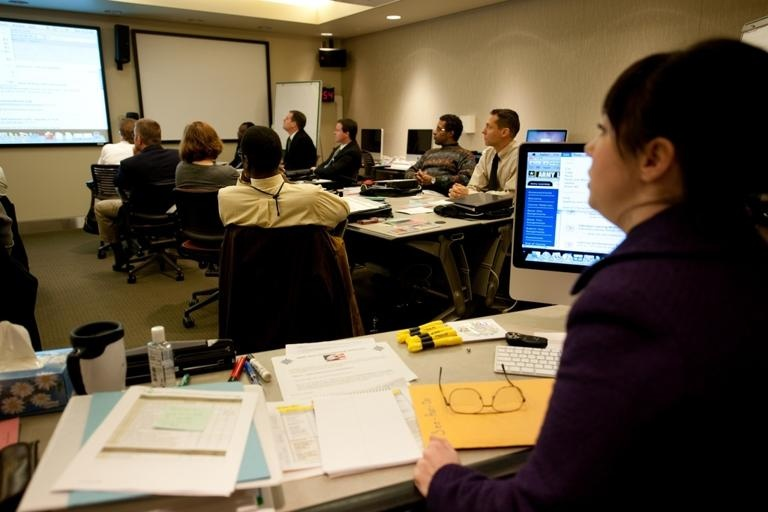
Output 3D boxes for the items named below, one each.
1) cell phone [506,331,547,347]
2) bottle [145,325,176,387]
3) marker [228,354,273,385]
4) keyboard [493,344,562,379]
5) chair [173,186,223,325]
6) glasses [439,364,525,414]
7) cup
[{"bbox_3d":[0.432,0.249,1.660,0.088,0.024,0.049,7,15,30],"label":"cell phone"},{"bbox_3d":[-0.569,0.256,1.446,0.113,0.137,0.088,3,13,-17],"label":"bottle"},{"bbox_3d":[-0.370,0.310,1.514,0.057,0.017,0.096,-15,21,-26],"label":"marker"},{"bbox_3d":[0.406,0.295,1.557,0.197,0.027,0.136,1,31,7],"label":"keyboard"},{"bbox_3d":[-1.223,0.039,3.793,0.486,1.019,0.601,-2,7,-18],"label":"chair"},{"bbox_3d":[0.253,0.335,1.403,0.175,0.050,0.139,1,10,-9],"label":"glasses"},{"bbox_3d":[-0.689,0.237,1.354,0.151,0.178,0.126,-8,16,-32],"label":"cup"}]
